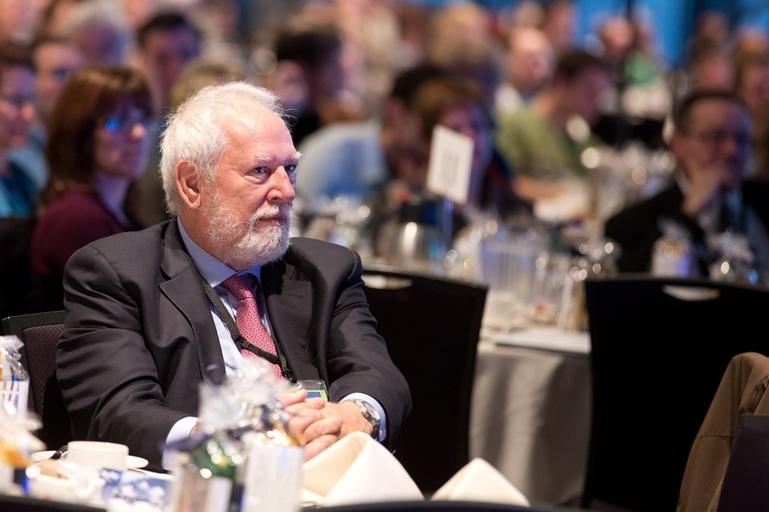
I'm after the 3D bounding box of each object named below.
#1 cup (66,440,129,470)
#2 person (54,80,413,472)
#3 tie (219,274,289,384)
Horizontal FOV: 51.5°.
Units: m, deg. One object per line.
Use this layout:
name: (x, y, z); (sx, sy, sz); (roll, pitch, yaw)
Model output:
cup: (-0.826, 0.590, 2.339); (0.150, 0.069, 0.179); (2, 0, -42)
person: (-0.557, 0.021, 2.998); (1.219, 1.398, 0.631); (2, 1, -23)
tie: (-0.522, 0.237, 3.149); (0.172, 0.592, 0.135); (-14, -7, -17)
